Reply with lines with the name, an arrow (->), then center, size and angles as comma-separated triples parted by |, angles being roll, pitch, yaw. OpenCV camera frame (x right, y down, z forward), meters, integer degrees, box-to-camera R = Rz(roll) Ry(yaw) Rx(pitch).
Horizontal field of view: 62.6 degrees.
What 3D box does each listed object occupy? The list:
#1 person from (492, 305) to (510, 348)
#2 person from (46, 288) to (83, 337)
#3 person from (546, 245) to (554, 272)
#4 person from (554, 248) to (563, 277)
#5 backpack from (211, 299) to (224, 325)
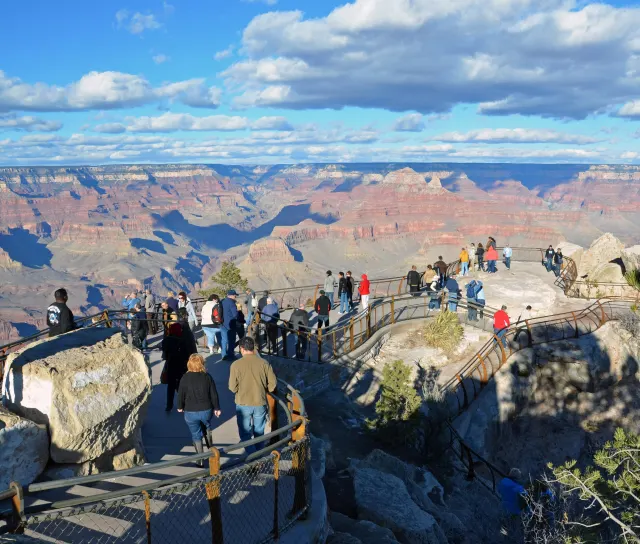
person -> 6.231, 1.861, 18.376 | 0.478, 1.691, 1.380 | 0, 11, 18
person -> -5.390, 0.877, 11.170 | 0.693, 1.062, 0.606 | 16, 16, 24
person -> 13.989, -0.824, 32.435 | 0.388, 1.703, 1.574 | 1, 12, 23
person -> 14.043, -0.496, 31.466 | 0.414, 1.429, 1.605 | 1, 12, 22
backpack -> -2.785, 1.132, 14.539 | 0.264, 0.615, 0.530 | -10, 13, -32
